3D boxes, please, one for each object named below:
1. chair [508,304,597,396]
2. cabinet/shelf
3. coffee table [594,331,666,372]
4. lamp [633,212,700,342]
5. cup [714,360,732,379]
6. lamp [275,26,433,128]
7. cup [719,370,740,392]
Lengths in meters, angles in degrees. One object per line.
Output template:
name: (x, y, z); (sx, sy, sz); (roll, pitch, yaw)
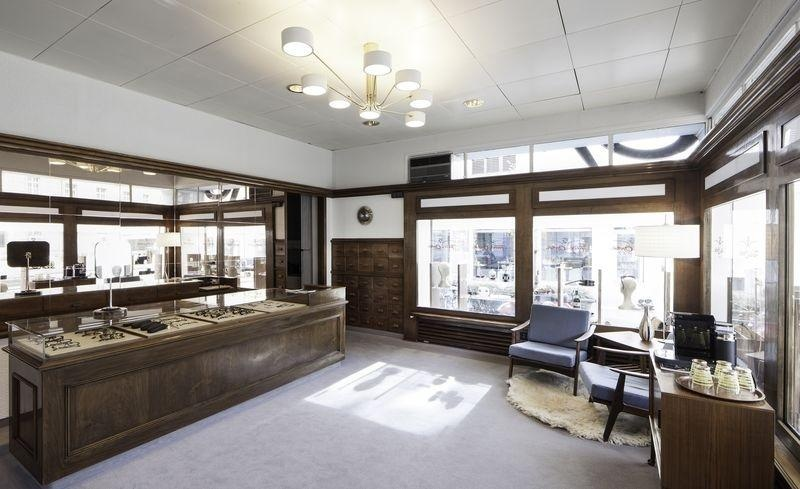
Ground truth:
chair: (2.239, 1.468, 7.004); (1.066, 0.921, 1.187); (5, 5, 38)
cabinet/shelf: (-0.476, 0.814, 9.810); (2.067, 1.846, 0.750); (0, 0, 40)
coffee table: (3.244, 1.504, 6.706); (0.790, 0.617, 0.772); (9, -29, -39)
lamp: (3.783, 0.524, 6.501); (0.676, 1.067, 1.406); (0, 0, 41)
cup: (3.252, 1.246, 4.755); (0.172, 0.160, 0.170); (0, 3, 0)
lamp: (-0.465, -2.089, 5.912); (1.340, 0.482, 1.170); (-3, -15, 23)
cup: (3.230, 1.378, 4.747); (0.223, 0.188, 0.193); (0, -2, -5)
